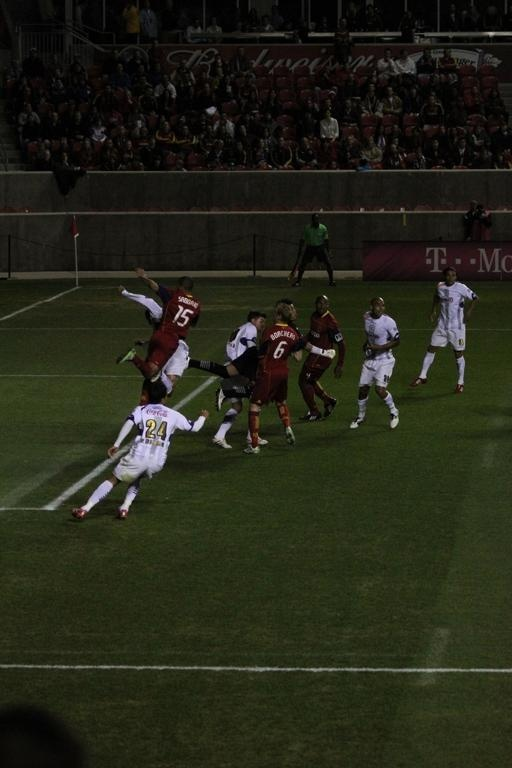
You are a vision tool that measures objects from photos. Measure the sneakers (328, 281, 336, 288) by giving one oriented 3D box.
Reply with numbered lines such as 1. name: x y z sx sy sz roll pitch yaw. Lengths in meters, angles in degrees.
1. sneakers: 2.297 -2.992 29.869 0.245 0.188 0.159 0 -3 -4

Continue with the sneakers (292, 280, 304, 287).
1. sneakers: 1.294 -3.014 29.986 0.161 0.255 0.393 -6 19 -20

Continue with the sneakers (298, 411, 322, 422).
1. sneakers: 0.775 0.462 14.033 0.377 0.136 0.114 -1 24 7

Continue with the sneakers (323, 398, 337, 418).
1. sneakers: 1.054 0.346 14.129 0.136 0.321 0.134 15 37 -15

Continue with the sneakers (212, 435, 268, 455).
1. sneakers: -0.243 0.707 12.484 0.757 0.268 0.222 -5 31 -10

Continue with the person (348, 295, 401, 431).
1. person: 1.588 -0.241 13.241 0.647 1.788 0.717 2 12 7

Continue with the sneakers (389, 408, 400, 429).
1. sneakers: 1.868 0.468 13.437 0.120 0.133 0.299 1 53 12

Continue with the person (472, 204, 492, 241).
1. person: 7.347 -5.231 32.332 0.585 1.093 1.763 3 11 13

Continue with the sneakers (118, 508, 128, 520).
1. sneakers: -1.240 1.217 9.300 0.066 0.069 0.161 1 0 -6

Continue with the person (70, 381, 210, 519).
1. person: -1.076 0.656 9.003 0.905 1.362 1.213 -10 15 -42

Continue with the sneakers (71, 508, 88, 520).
1. sneakers: -1.602 1.187 9.123 0.135 0.086 0.171 8 24 6
